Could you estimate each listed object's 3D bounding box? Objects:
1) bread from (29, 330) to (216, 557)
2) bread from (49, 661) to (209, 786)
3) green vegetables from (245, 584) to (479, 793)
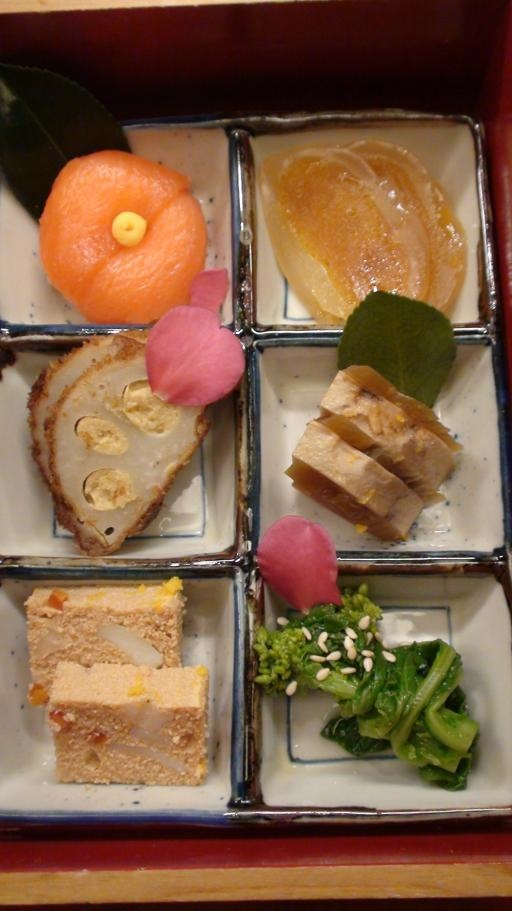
[{"bbox_3d":[-0.315,-0.027,1.812,0.391,0.128,0.469,14,94,4],"label":"bread"},{"bbox_3d":[-0.263,0.559,1.679,0.321,0.199,0.209,4,56,-2],"label":"bread"},{"bbox_3d":[0.253,0.474,1.724,0.519,0.186,0.278,25,58,12],"label":"green vegetables"}]
